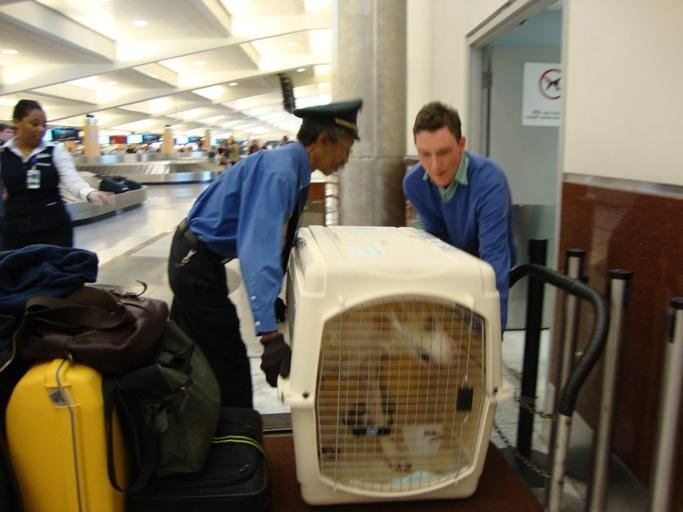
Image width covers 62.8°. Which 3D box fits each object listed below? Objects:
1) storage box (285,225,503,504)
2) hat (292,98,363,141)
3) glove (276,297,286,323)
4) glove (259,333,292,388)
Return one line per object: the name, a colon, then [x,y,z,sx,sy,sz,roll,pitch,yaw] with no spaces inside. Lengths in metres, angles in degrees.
storage box: [0.135,0.347,1.865,0.622,0.662,0.918,1,11,-3]
hat: [-0.046,-0.506,2.054,0.172,0.096,0.163,5,20,-8]
glove: [-0.228,0.202,2.041,0.053,0.068,0.093,-1,11,-3]
glove: [-0.197,0.298,1.631,0.089,0.039,0.149,-24,39,19]
